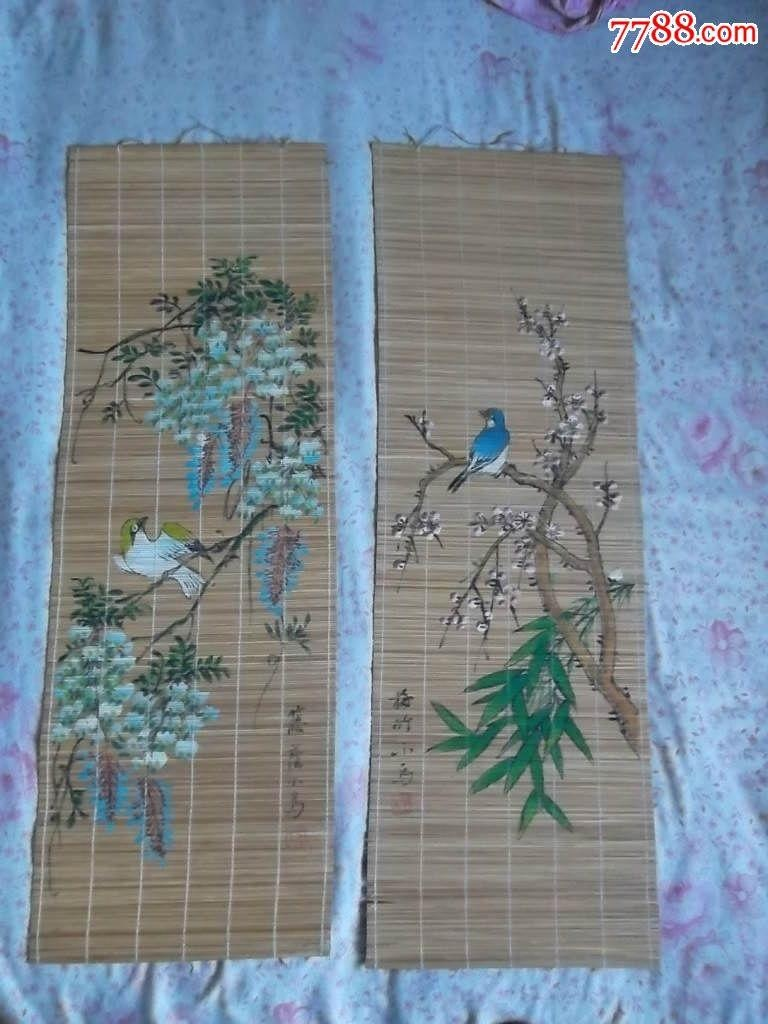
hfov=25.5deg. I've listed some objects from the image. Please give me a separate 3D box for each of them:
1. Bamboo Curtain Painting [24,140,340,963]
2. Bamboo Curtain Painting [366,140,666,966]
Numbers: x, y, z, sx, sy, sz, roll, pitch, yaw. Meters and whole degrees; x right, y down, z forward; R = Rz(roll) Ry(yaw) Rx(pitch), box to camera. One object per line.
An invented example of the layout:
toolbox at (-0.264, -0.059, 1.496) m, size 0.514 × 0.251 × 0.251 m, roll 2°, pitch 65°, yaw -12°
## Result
Bamboo Curtain Painting at (-0.391, 0.069, 3.481) m, size 0.598 × 0.096 × 1.674 m, roll 2°, pitch 83°, yaw -1°
Bamboo Curtain Painting at (0.268, 0.075, 3.518) m, size 0.592 × 0.107 × 1.698 m, roll 0°, pitch 83°, yaw -1°
